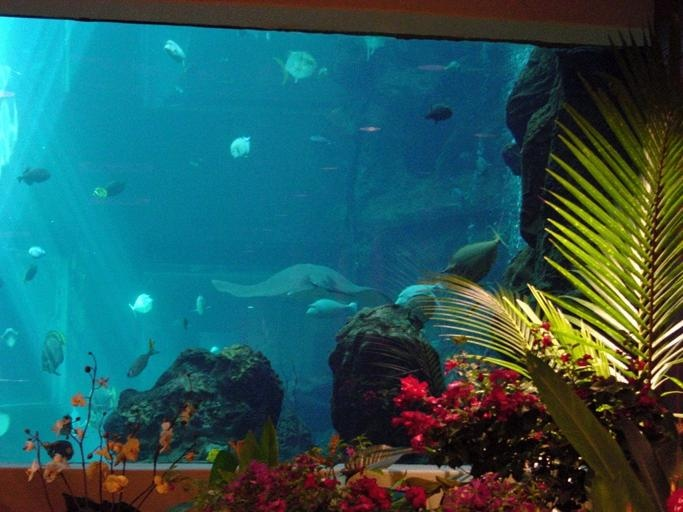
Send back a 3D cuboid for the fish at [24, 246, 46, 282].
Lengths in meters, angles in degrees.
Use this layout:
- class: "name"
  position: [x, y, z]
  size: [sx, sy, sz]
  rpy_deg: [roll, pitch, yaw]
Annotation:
- class: "fish"
  position: [-6.085, 0.168, 13.756]
  size: [0.258, 0.652, 0.424]
  rpy_deg: [17, -12, 15]
